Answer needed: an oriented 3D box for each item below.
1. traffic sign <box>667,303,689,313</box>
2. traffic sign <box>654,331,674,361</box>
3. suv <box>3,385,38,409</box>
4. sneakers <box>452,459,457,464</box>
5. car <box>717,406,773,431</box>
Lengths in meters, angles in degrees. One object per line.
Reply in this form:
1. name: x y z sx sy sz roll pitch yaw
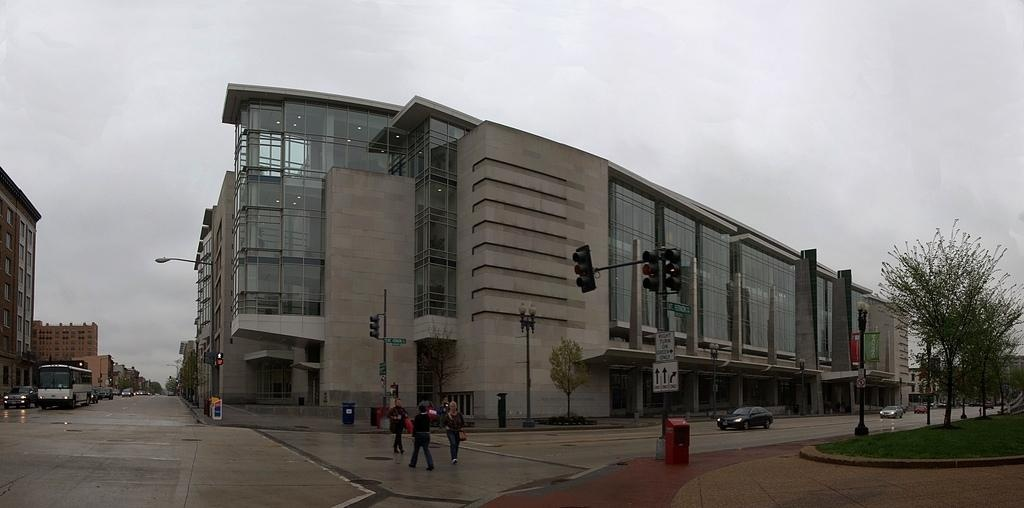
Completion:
1. traffic sign: 13.066 4.295 63.399 0.328 0.529 2.539 -10 -15 39
2. traffic sign: 11.250 6.854 59.556 1.357 2.241 1.176 -4 -16 11
3. suv: -60.897 17.759 99.154 3.089 3.111 6.313 7 -17 -28
4. sneakers: -4.303 15.544 59.811 0.261 0.230 0.594 5 -19 -18
5. car: 23.841 16.867 81.937 5.738 2.218 1.706 7 -18 -28
